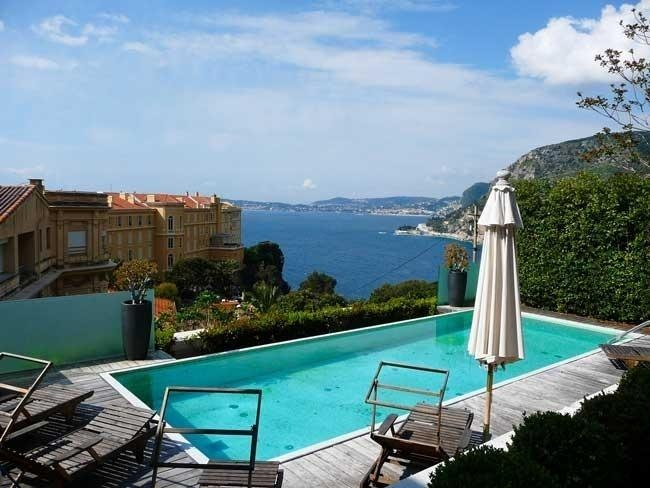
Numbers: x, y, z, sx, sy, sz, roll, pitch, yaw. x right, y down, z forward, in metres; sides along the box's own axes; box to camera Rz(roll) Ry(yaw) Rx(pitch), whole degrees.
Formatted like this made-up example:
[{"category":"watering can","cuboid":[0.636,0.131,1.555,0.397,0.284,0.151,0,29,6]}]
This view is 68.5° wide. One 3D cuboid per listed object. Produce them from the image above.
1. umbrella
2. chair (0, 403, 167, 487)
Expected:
[{"category":"umbrella","cuboid":[2.449,0.838,6.863,0.749,3.772,0.445,-2,2,-10]},{"category":"chair","cuboid":[-2.945,2.447,5.928,0.863,0.528,1.274,11,18,29]}]
